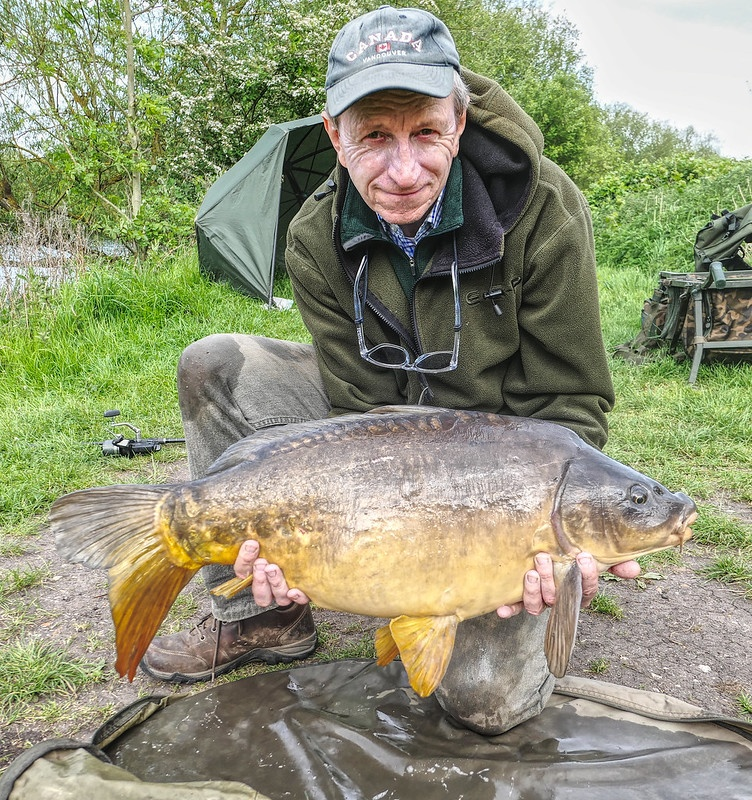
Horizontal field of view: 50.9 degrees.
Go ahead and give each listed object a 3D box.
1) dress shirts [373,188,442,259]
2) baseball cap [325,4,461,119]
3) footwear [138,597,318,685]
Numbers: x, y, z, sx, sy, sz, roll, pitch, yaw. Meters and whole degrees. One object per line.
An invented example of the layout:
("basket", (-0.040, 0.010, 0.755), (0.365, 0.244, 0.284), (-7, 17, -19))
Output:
("dress shirts", (0.103, -0.551, 2.477), (0.174, 0.199, 0.138), (6, 12, 8))
("baseball cap", (0.035, -0.961, 2.227), (0.315, 0.193, 0.407), (-3, 14, 8))
("footwear", (-0.459, 0.756, 2.573), (0.635, 0.248, 0.203), (1, 8, -13))
